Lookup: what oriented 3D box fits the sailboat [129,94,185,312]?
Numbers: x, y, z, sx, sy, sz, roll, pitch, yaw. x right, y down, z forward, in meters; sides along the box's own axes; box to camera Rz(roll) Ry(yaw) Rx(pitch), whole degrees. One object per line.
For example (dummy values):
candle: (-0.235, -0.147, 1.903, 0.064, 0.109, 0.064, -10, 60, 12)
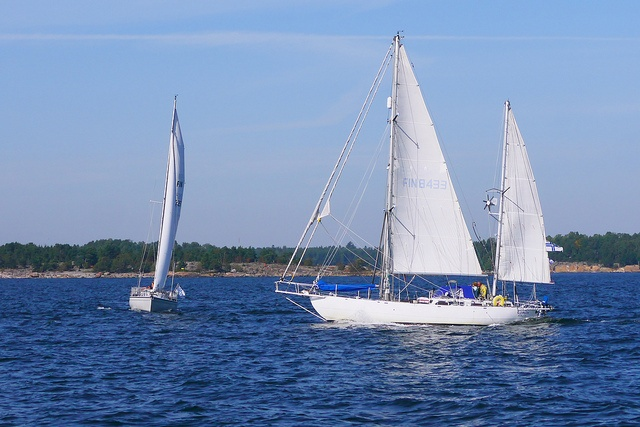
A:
sailboat: (-15.753, -0.144, 105.749, 5.326, 20.137, 3.948, -5, 11, -24)
